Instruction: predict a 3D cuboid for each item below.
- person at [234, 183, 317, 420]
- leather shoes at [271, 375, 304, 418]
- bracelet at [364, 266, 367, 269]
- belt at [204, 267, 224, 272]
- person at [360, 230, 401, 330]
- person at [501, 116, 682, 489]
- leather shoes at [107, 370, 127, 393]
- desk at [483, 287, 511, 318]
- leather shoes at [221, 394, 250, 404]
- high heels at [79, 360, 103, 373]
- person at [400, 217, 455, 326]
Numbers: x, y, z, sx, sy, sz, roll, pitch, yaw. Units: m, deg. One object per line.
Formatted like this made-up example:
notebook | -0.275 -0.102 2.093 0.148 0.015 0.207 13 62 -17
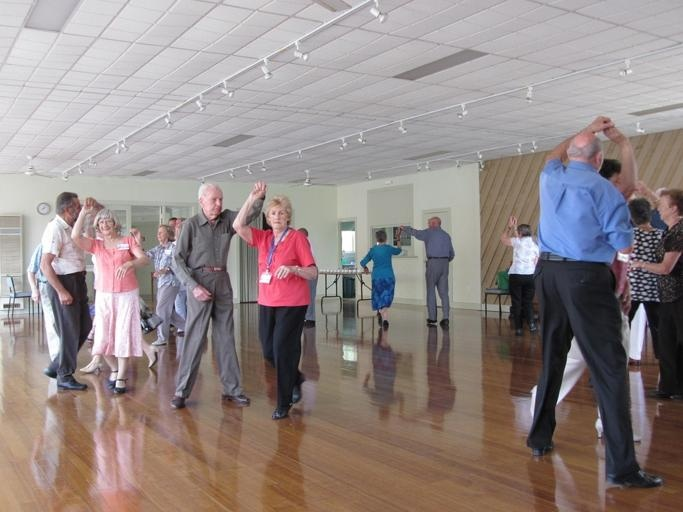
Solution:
person | -0.523 0.366 4.333 0.555 1.977 0.622 -2 2 -34
leather shoes | -0.454 1.266 4.406 0.134 0.170 0.410 0 1 16
bracelet | 0.492 0.232 10.213 0.057 0.058 0.057 17 -3 -1
belt | -1.150 0.117 4.597 0.063 0.052 0.183 0 1 42
person | 0.788 0.415 10.003 0.747 1.834 1.540 -1 1 4
person | 1.575 0.241 3.193 0.763 2.199 0.471 0 2 36
leather shoes | -2.345 1.325 5.294 0.128 0.140 0.370 2 -8 -12
desk | 3.516 1.016 11.662 0.600 0.717 0.781 -1 -2 30
leather shoes | -0.982 1.340 4.761 0.266 0.106 0.097 -4 -6 20
high heels | -3.042 1.342 6.178 0.113 0.140 0.322 3 -3 33
person | 1.864 0.255 9.974 0.911 2.109 0.837 -2 1 -16
